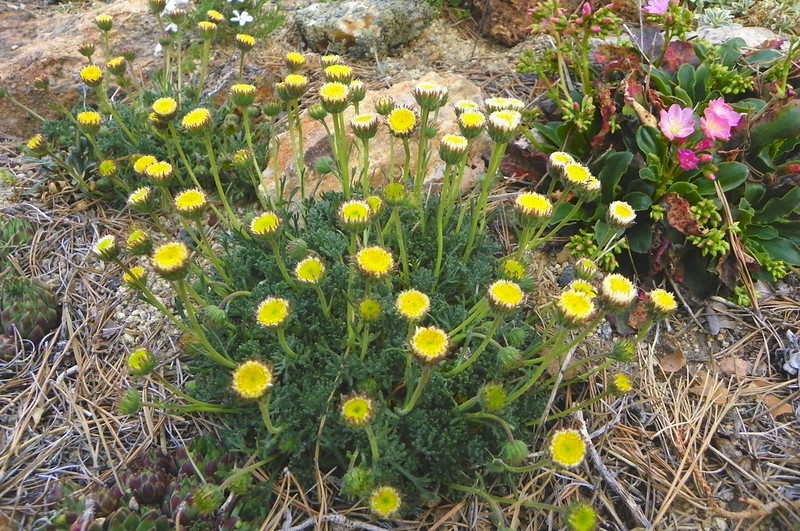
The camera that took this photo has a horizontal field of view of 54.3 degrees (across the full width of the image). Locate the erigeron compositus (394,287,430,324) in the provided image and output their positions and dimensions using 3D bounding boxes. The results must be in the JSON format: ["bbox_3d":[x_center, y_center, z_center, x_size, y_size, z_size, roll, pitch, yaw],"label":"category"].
[{"bbox_3d":[0.078,0.233,4.598,0.187,0.082,0.203,21,66,7],"label":"erigeron compositus"}]

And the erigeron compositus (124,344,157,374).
[{"bbox_3d":[-1.552,0.579,4.682,0.151,0.130,0.173,-20,33,-15],"label":"erigeron compositus"}]

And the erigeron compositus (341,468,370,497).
[{"bbox_3d":[-0.259,1.297,4.649,0.176,0.270,0.131,-1,63,-2],"label":"erigeron compositus"}]

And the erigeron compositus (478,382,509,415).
[{"bbox_3d":[0.566,0.794,4.700,0.161,0.105,0.172,-36,71,-17],"label":"erigeron compositus"}]

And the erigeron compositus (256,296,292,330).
[{"bbox_3d":[-0.746,0.272,4.629,0.202,0.048,0.204,-3,66,-4],"label":"erigeron compositus"}]

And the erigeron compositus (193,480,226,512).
[{"bbox_3d":[-1.135,1.379,4.612,0.163,0.171,0.162,17,65,6],"label":"erigeron compositus"}]

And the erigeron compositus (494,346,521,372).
[{"bbox_3d":[0.657,0.560,4.705,0.130,0.145,0.132,-15,26,-27],"label":"erigeron compositus"}]

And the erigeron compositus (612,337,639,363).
[{"bbox_3d":[1.358,0.521,4.707,0.129,0.168,0.164,4,24,31],"label":"erigeron compositus"}]

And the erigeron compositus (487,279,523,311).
[{"bbox_3d":[0.616,0.173,4.520,0.212,0.059,0.196,20,66,6],"label":"erigeron compositus"}]

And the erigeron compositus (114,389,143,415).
[{"bbox_3d":[-1.672,0.850,4.809,0.125,0.170,0.176,10,15,-18],"label":"erigeron compositus"}]

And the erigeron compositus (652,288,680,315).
[{"bbox_3d":[1.534,0.220,4.566,0.154,0.074,0.139,0,65,-3],"label":"erigeron compositus"}]

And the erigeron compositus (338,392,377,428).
[{"bbox_3d":[-0.243,0.836,4.483,0.192,0.071,0.180,-3,66,-4],"label":"erigeron compositus"}]

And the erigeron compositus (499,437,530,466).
[{"bbox_3d":[0.681,1.114,4.647,0.126,0.181,0.142,-13,59,8],"label":"erigeron compositus"}]

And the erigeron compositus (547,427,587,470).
[{"bbox_3d":[0.967,1.041,4.469,0.197,0.077,0.226,27,67,9],"label":"erigeron compositus"}]

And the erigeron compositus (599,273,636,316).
[{"bbox_3d":[1.281,0.164,4.554,0.246,0.153,0.199,-12,66,-8],"label":"erigeron compositus"}]

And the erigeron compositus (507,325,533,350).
[{"bbox_3d":[0.766,0.455,4.961,0.133,0.060,0.146,-41,24,19],"label":"erigeron compositus"}]

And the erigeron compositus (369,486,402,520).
[{"bbox_3d":[-0.080,1.387,4.566,0.188,0.105,0.170,1,65,-2],"label":"erigeron compositus"}]

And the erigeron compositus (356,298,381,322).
[{"bbox_3d":[-0.178,0.269,4.686,0.134,0.089,0.119,-3,65,-4],"label":"erigeron compositus"}]

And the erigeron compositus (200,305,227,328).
[{"bbox_3d":[-1.124,0.313,4.747,0.117,0.129,0.119,19,80,-19],"label":"erigeron compositus"}]

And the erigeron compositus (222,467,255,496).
[{"bbox_3d":[-0.976,1.291,4.708,0.150,0.294,0.165,9,63,3],"label":"erigeron compositus"}]

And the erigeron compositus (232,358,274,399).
[{"bbox_3d":[-0.847,0.656,4.482,0.229,0.035,0.228,1,66,-3],"label":"erigeron compositus"}]

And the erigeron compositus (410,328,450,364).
[{"bbox_3d":[0.172,0.458,4.472,0.225,0.087,0.223,24,67,8],"label":"erigeron compositus"}]
